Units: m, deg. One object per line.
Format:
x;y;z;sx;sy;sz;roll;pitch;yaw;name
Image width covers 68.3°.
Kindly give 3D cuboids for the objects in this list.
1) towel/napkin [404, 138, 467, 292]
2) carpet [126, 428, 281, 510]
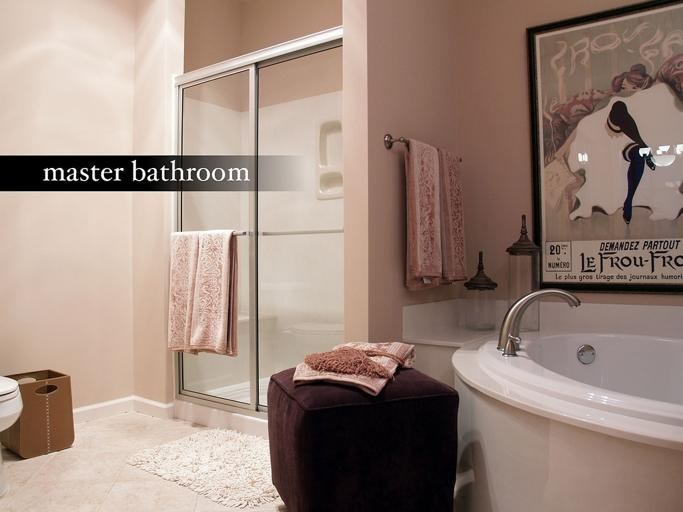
0.542;-0.228;2.979;0.128;0.955;0.875;-3;-5;38;towel/napkin
-0.701;1.208;2.893;0.969;0.052;0.568;9;17;33;carpet
